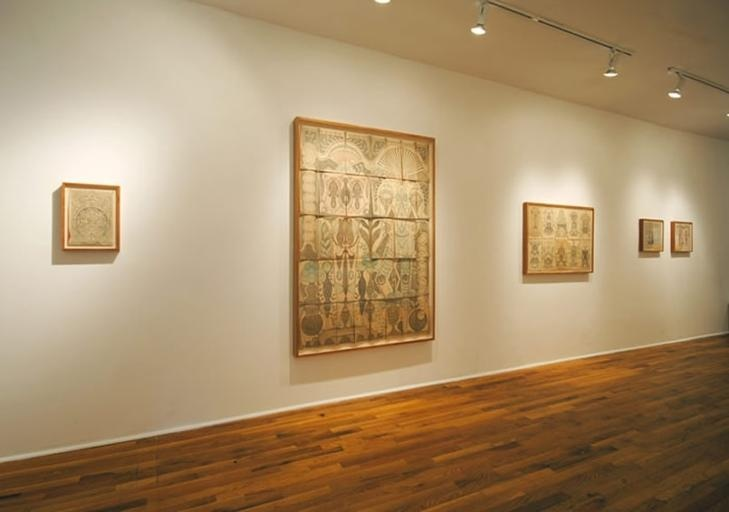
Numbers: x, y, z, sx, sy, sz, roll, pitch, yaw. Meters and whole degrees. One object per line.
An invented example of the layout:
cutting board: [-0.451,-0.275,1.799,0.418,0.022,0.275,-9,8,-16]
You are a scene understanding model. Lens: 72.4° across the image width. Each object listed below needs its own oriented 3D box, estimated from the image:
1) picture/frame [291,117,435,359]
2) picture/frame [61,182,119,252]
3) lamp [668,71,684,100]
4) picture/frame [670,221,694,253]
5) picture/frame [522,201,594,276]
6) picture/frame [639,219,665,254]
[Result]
picture/frame: [0.008,-0.255,6.050,1.888,2.712,0.488,-4,12,-21]
picture/frame: [-2.804,-0.378,5.052,0.633,0.925,0.070,1,-3,-31]
lamp: [4.374,-2.405,6.993,0.201,0.371,0.234,3,3,-1]
picture/frame: [5.557,-0.320,8.746,0.518,0.507,0.091,0,1,-35]
picture/frame: [2.933,-0.233,7.451,1.297,1.027,0.062,1,-3,-24]
picture/frame: [4.842,-0.328,8.372,0.535,0.523,0.065,0,1,-24]
